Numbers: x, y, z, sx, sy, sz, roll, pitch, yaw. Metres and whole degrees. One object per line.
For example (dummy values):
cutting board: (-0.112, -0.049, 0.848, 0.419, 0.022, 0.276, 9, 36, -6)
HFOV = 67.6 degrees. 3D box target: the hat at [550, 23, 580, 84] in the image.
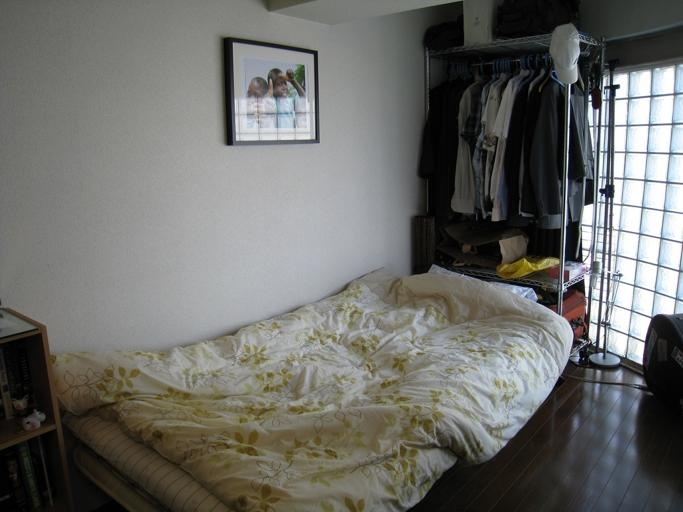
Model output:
hat: (1.363, -1.233, 3.121, 0.159, 0.345, 0.224, 2, 10, 23)

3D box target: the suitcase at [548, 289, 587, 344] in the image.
suitcase: (1.540, 0.404, 3.495, 0.195, 0.368, 0.261, 17, 31, 41)

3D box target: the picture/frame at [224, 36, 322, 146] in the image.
picture/frame: (-0.447, -1.024, 3.129, 0.050, 0.607, 0.685, 6, 11, 44)
